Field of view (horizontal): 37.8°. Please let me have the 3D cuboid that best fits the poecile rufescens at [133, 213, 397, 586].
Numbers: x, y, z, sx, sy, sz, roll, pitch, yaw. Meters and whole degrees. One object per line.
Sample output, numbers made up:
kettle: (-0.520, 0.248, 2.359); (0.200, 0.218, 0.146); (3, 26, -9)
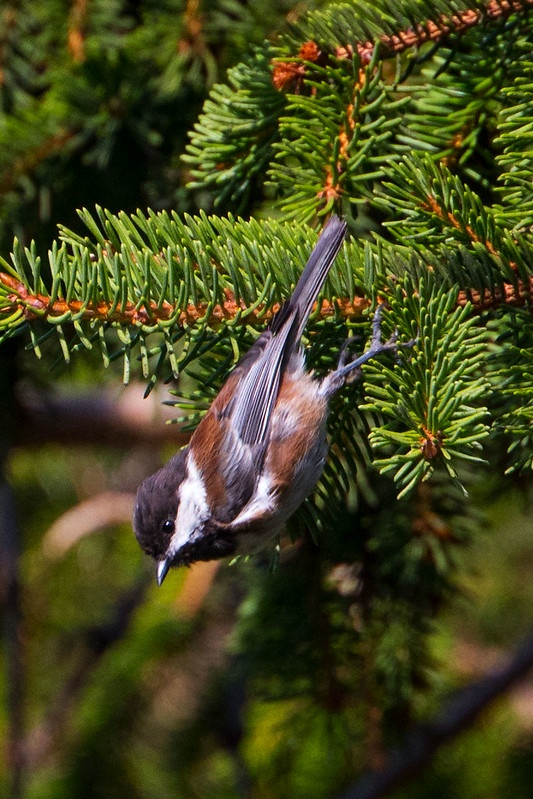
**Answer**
poecile rufescens: (-0.017, 0.085, 2.068); (0.415, 1.024, 0.586); (37, 50, 20)
